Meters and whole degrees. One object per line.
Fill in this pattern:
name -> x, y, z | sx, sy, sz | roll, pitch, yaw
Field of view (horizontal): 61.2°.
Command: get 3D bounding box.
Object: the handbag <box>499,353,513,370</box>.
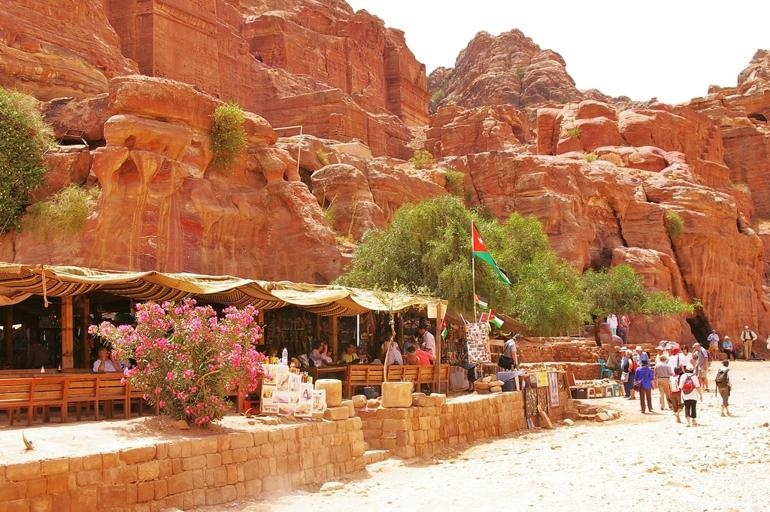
handbag -> 3.488, 3.038, 18.757 | 0.459, 0.496, 0.367 | -3, -12, -5

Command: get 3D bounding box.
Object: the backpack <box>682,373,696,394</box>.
backpack -> 7.627, 3.266, 16.399 | 0.270, 0.444, 0.448 | 0, -9, 8

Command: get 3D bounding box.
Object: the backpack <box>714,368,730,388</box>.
backpack -> 9.178, 3.312, 17.714 | 0.307, 0.432, 0.409 | -12, -14, 33

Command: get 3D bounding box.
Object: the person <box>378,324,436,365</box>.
person -> 0.538, 2.371, 17.835 | 1.158, 0.811, 1.517 | 6, -13, -33

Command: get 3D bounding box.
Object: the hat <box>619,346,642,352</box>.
hat -> 9.909, 3.784, 26.348 | 0.809, 0.236, 0.904 | -1, -3, 26

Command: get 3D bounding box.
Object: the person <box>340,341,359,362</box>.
person -> -1.102, 2.918, 19.651 | 0.395, 0.749, 0.228 | -20, 30, -38
